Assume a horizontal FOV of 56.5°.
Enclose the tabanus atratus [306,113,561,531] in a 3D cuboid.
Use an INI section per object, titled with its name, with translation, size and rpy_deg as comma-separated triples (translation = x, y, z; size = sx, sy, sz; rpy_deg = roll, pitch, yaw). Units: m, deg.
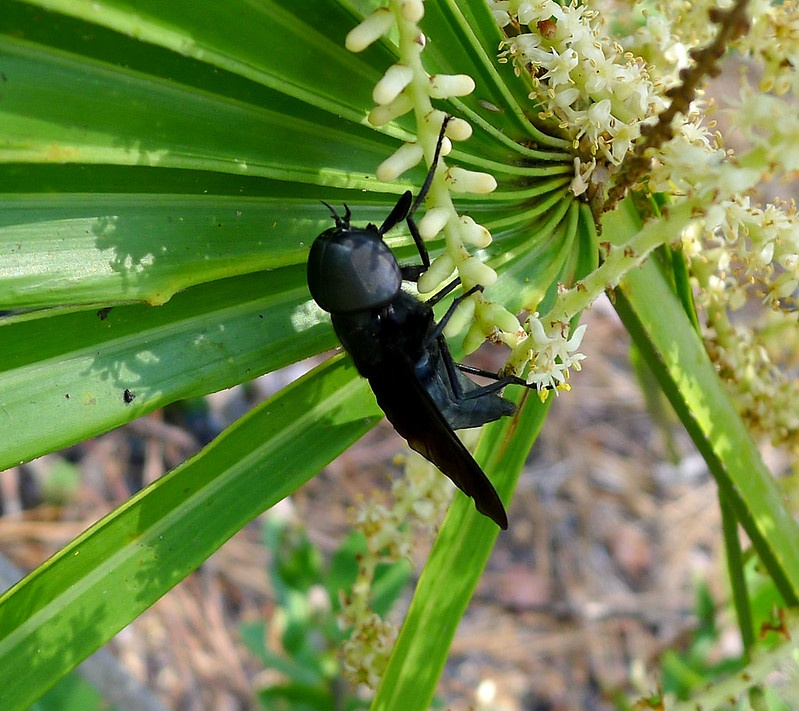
[tabanus atratus]
translation = 0.121, -0.058, 1.253
size = 0.475, 0.513, 0.160
rpy_deg = -22, 12, 42
